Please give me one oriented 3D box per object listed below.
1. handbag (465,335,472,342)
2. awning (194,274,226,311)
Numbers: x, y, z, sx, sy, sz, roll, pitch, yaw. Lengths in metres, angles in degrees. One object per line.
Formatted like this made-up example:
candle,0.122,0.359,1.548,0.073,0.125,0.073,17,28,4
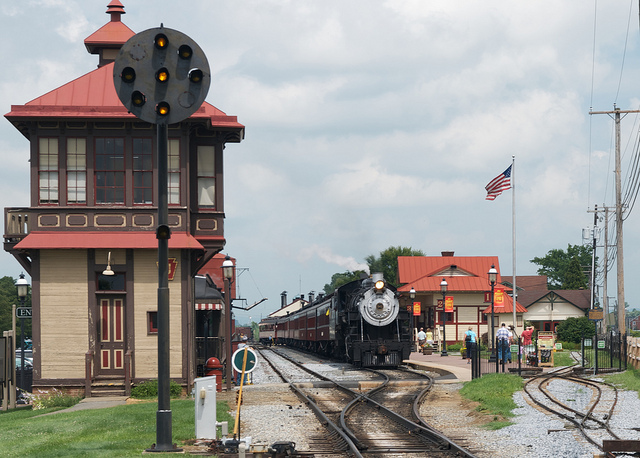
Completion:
handbag,7.160,5.273,55.878,0.239,0.233,0.412,-2,-10,13
awning,-4.501,2.520,46.950,1.385,0.900,1.383,0,-4,-4
